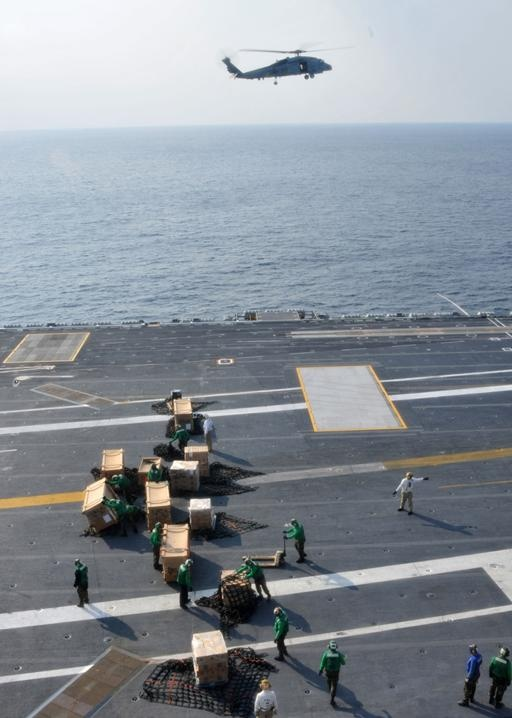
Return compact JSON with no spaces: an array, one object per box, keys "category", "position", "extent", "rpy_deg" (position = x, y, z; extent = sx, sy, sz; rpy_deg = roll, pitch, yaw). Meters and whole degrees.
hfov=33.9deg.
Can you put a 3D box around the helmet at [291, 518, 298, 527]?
[{"category":"helmet","position":[1.079,4.663,24.006],"extent":[0.248,0.280,0.273],"rpy_deg":[3,-4,5]}]

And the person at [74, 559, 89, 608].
[{"category":"person","position":[-4.750,5.899,22.638],"extent":[0.357,1.626,0.924],"rpy_deg":[-4,21,-12]}]

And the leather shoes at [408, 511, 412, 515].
[{"category":"leather shoes","position":[5.054,5.044,27.487],"extent":[0.081,0.131,0.141],"rpy_deg":[-7,2,14]}]

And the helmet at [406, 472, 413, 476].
[{"category":"helmet","position":[4.994,3.725,27.251],"extent":[0.238,0.164,0.472],"rpy_deg":[6,-3,12]}]

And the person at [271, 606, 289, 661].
[{"category":"person","position":[0.582,6.827,20.754],"extent":[0.546,1.532,0.654],"rpy_deg":[9,42,8]}]

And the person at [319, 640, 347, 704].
[{"category":"person","position":[1.757,7.095,19.589],"extent":[0.549,1.552,1.169],"rpy_deg":[3,20,4]}]

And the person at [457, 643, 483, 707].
[{"category":"person","position":[4.979,7.194,19.382],"extent":[0.326,1.558,0.695],"rpy_deg":[8,22,19]}]
